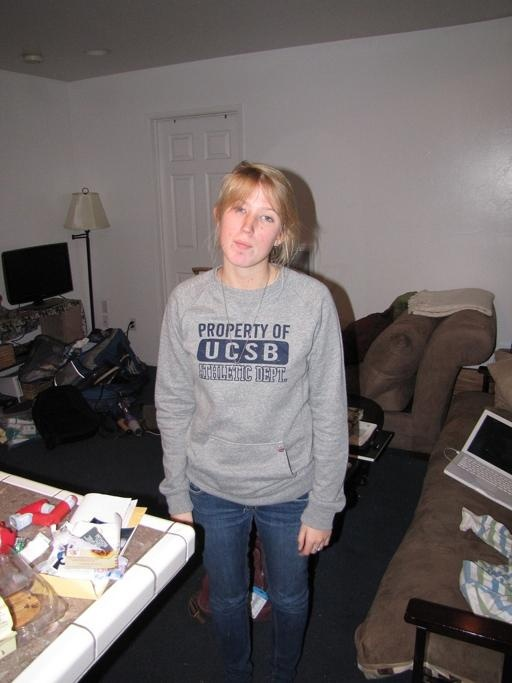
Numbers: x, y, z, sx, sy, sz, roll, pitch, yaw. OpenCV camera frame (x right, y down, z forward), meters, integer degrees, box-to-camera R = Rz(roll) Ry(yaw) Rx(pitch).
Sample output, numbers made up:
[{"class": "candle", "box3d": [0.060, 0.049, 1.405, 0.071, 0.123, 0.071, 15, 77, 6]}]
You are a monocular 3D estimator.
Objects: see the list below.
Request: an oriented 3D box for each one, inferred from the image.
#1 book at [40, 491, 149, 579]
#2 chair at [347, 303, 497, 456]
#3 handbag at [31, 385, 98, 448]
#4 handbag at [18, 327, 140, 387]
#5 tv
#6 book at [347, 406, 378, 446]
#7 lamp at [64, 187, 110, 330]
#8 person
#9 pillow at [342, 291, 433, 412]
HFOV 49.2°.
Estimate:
[{"class": "book", "box3d": [-0.284, 0.328, 0.960, 0.123, 0.037, 0.086, 5, 35, 7]}, {"class": "chair", "box3d": [0.981, 0.046, 3.496, 0.920, 0.734, 1.594, 1, 15, 19]}, {"class": "handbag", "box3d": [-1.109, 0.429, 3.212, 0.341, 0.354, 0.155, -20, -10, -28]}, {"class": "handbag", "box3d": [-1.142, 0.107, 3.680, 0.533, 0.209, 0.397, -10, 15, -39]}, {"class": "tv", "box3d": [-1.581, -0.464, 3.994, 0.070, 0.358, 0.517, 1, 19, 31]}, {"class": "book", "box3d": [0.422, 0.344, 2.302, 0.147, 0.033, 0.152, 14, 25, 31]}, {"class": "lamp", "box3d": [-1.333, -0.650, 4.591, 0.331, 1.176, 0.517, -8, 17, -13]}, {"class": "person", "box3d": [-0.007, 0.286, 1.325, 0.441, 1.353, 0.227, -1, 17, 8]}, {"class": "pillow", "box3d": [0.693, 0.071, 2.930, 0.228, 0.572, 0.600, 19, 12, -10]}]
